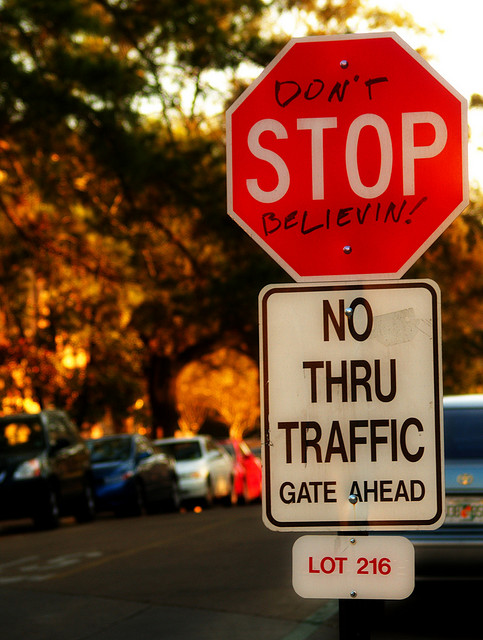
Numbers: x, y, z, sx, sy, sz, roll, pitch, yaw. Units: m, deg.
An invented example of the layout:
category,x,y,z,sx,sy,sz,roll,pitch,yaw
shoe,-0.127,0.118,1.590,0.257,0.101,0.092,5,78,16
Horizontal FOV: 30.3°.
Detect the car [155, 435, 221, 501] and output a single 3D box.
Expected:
category,x,y,z,sx,sy,sz,roll,pitch,yaw
car,-0.836,2.425,15.038,0.725,0.657,1.771,-1,-11,7
